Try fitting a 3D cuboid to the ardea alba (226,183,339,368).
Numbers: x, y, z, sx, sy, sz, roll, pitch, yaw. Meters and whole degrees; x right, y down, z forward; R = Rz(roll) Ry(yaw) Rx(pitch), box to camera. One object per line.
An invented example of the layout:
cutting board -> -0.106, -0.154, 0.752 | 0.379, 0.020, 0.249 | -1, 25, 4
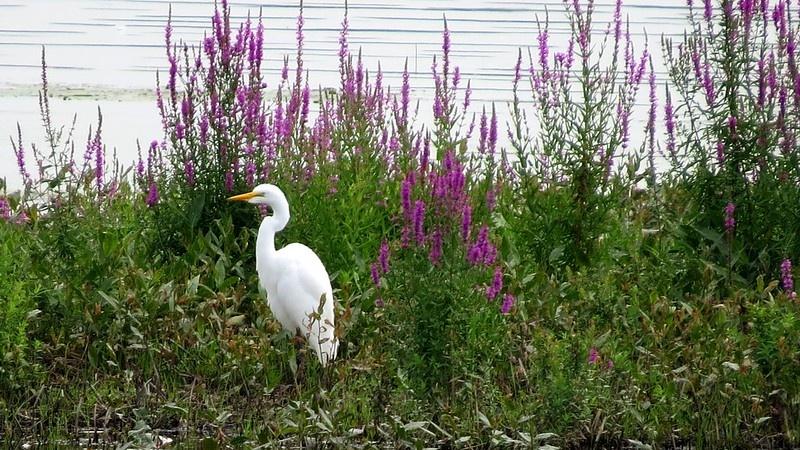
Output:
ardea alba -> -0.840, 0.387, 7.980 | 1.113, 1.382, 0.524 | 6, 7, 44
